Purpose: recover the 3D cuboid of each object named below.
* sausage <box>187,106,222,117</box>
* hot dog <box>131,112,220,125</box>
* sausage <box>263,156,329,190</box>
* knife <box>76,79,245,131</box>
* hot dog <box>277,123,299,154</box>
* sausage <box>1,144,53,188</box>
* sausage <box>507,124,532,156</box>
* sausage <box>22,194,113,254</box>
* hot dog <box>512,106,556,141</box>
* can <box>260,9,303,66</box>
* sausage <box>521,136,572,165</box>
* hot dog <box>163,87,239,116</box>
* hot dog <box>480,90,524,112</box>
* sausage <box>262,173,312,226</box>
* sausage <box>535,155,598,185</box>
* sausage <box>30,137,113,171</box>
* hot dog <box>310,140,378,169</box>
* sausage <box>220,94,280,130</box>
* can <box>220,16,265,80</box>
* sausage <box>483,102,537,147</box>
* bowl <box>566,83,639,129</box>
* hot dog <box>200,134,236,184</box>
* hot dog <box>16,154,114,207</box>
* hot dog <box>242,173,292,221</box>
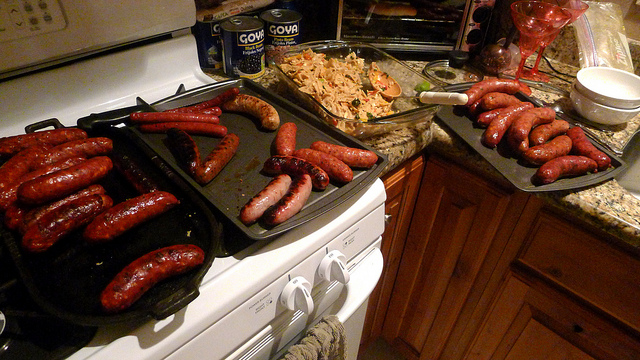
[{"bbox_3d":[-0.549,-0.315,1.841,0.195,0.046,0.041,-8,26,-7],"label":"sausage"},{"bbox_3d":[-0.647,-0.269,1.764,0.397,0.062,0.060,0,3,-5],"label":"hot dog"},{"bbox_3d":[-0.090,-0.039,1.682,0.253,0.117,0.068,19,14,12],"label":"sausage"},{"bbox_3d":[-0.743,-0.341,1.861,0.633,0.101,0.106,-15,49,-17],"label":"knife"},{"bbox_3d":[-0.139,-0.190,1.748,0.078,0.049,0.151,7,41,-6],"label":"hot dog"},{"bbox_3d":[-1.122,-0.050,1.543,0.058,0.053,0.210,30,52,6],"label":"sausage"},{"bbox_3d":[0.943,-0.187,1.898,0.081,0.044,0.152,-10,36,14],"label":"sausage"},{"bbox_3d":[-0.925,0.155,1.484,0.318,0.115,0.079,-31,51,-25],"label":"sausage"},{"bbox_3d":[1.039,-0.294,1.977,0.282,0.077,0.118,-30,46,-20],"label":"hot dog"},{"bbox_3d":[-0.218,-0.797,2.266,0.213,0.254,0.212,-15,31,-31],"label":"can"},{"bbox_3d":[1.081,-0.143,1.923,0.262,0.077,0.119,-19,25,-18],"label":"sausage"},{"bbox_3d":[-0.544,-0.362,1.878,0.273,0.035,0.066,-26,36,-23],"label":"hot dog"},{"bbox_3d":[0.909,-0.405,2.069,0.263,0.070,0.089,-4,8,-16],"label":"hot dog"},{"bbox_3d":[-0.130,0.077,1.613,0.143,0.080,0.279,10,44,14],"label":"sausage"},{"bbox_3d":[1.131,-0.056,1.850,0.278,0.078,0.112,-13,33,0],"label":"sausage"},{"bbox_3d":[-1.016,-0.109,1.646,0.113,0.098,0.368,9,21,15],"label":"sausage"},{"bbox_3d":[0.095,-0.112,1.732,0.296,0.082,0.087,14,30,1],"label":"hot dog"},{"bbox_3d":[-0.309,-0.321,1.852,0.304,0.076,0.127,25,38,14],"label":"sausage"},{"bbox_3d":[-0.405,-0.691,2.124,0.254,0.290,0.189,-20,48,-14],"label":"can"},{"bbox_3d":[0.922,-0.262,1.953,0.341,0.076,0.110,-38,75,-17],"label":"sausage"},{"bbox_3d":[1.444,-0.417,2.076,0.277,0.104,0.259,3,33,-2],"label":"bowl"},{"bbox_3d":[-0.408,-0.091,1.692,0.075,0.066,0.230,17,50,16],"label":"hot dog"},{"bbox_3d":[-0.956,0.007,1.556,0.376,0.106,0.123,-28,55,-31],"label":"hot dog"},{"bbox_3d":[-0.196,0.062,1.614,0.091,0.073,0.259,23,45,32],"label":"hot dog"}]
